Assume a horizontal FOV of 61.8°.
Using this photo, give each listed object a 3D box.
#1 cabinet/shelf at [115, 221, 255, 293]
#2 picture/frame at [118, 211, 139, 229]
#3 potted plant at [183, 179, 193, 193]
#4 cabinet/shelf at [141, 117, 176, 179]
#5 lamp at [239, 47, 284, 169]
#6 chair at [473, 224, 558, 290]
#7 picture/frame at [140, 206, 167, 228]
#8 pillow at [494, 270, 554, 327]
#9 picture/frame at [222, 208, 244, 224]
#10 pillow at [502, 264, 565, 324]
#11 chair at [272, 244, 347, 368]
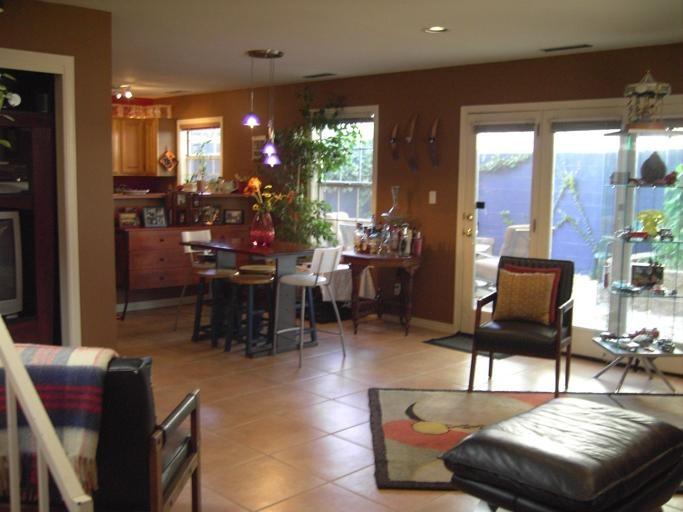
[{"bbox_3d":[-2.264,0.013,7.490,2.568,0.739,1.328,-3,-2,-33],"label":"cabinet/shelf"},{"bbox_3d":[-2.762,-0.460,7.350,0.230,0.192,0.033,-7,9,-36],"label":"picture/frame"},{"bbox_3d":[-2.204,-1.001,8.152,0.167,0.155,0.204,0,-3,-35],"label":"potted plant"},{"bbox_3d":[-3.029,-1.827,9.571,0.496,0.925,0.148,-2,10,-18],"label":"cabinet/shelf"},{"bbox_3d":[-0.905,-1.670,6.541,0.529,1.226,0.448,12,16,29],"label":"lamp"},{"bbox_3d":[1.923,0.001,6.469,0.646,1.083,0.644,3,3,21],"label":"chair"},{"bbox_3d":[-2.482,-0.507,7.483,0.099,0.266,0.282,-6,0,40],"label":"picture/frame"},{"bbox_3d":[1.556,0.374,4.821,0.430,0.379,0.199,6,6,23],"label":"pillow"},{"bbox_3d":[-1.591,-0.573,8.275,0.247,0.201,0.026,-1,5,-19],"label":"picture/frame"},{"bbox_3d":[1.629,0.348,4.824,0.450,0.424,0.153,7,-23,20],"label":"pillow"},{"bbox_3d":[-0.312,0.405,5.802,0.726,1.099,1.421,1,9,0],"label":"chair"}]
